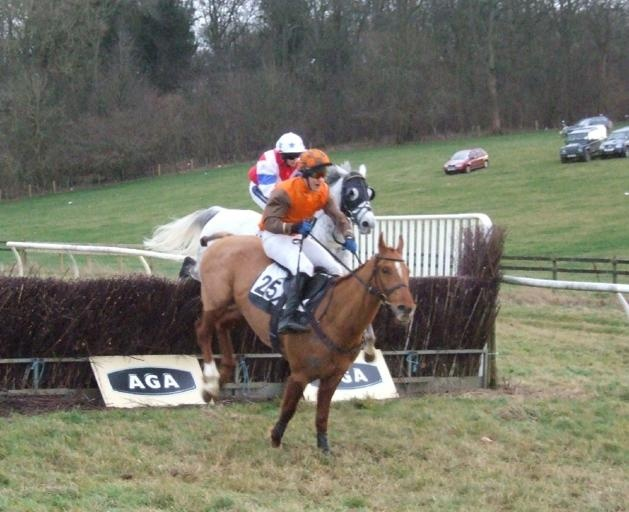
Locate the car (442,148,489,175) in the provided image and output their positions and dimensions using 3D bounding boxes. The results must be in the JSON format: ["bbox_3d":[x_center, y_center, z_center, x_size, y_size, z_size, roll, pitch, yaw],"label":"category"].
[{"bbox_3d":[7.293,-4.569,58.472,1.003,0.895,2.153,-1,9,39],"label":"car"}]
